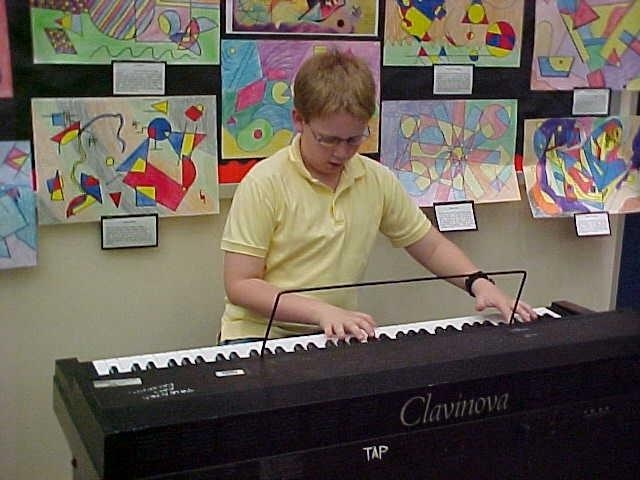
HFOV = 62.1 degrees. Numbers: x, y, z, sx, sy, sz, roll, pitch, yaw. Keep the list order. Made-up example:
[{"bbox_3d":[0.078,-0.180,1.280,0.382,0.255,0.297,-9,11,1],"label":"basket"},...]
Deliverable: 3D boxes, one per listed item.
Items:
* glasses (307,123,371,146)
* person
[{"bbox_3d":[0.051,-0.290,1.465,0.159,0.055,0.076,-4,12,-6],"label":"glasses"},{"bbox_3d":[0.139,-0.150,1.873,0.729,1.316,0.907,-13,15,-38],"label":"person"}]
